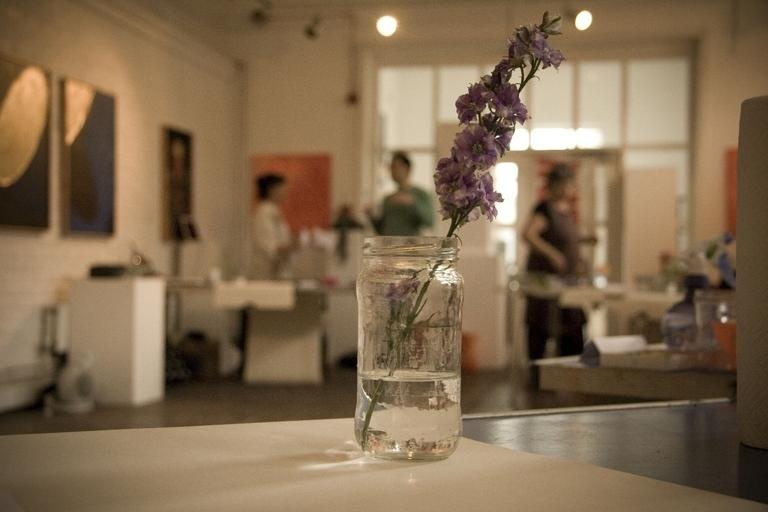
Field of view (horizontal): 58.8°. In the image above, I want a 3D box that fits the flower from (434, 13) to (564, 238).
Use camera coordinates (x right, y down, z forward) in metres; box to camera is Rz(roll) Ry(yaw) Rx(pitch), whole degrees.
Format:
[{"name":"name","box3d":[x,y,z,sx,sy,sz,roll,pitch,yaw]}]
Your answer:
[{"name":"flower","box3d":[0.150,-0.174,0.924,0.173,0.295,0.132,0,8,-3]}]
